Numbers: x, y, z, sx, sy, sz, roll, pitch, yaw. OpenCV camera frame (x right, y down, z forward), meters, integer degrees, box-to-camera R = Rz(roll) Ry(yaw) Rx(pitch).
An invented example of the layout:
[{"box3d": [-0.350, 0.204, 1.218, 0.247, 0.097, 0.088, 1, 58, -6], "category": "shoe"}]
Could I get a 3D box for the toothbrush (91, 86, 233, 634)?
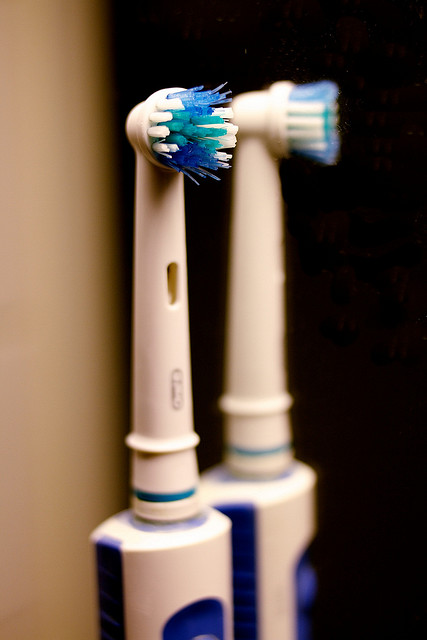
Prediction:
[{"box3d": [-0.033, 0.036, 0.467, 0.091, 0.348, 0.132, 3, 18, 14], "category": "toothbrush"}]
